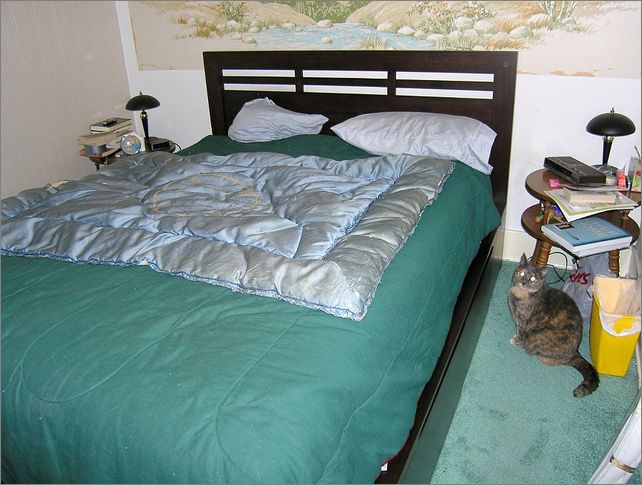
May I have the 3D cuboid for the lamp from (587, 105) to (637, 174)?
[{"bbox_3d":[1.589,-0.566,2.547,0.210,0.348,0.379,16,29,29],"label":"lamp"}]

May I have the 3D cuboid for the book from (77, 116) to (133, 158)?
[{"bbox_3d":[-1.569,-0.781,3.419,0.288,0.117,0.385,10,27,24],"label":"book"}]

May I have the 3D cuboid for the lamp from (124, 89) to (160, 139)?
[{"bbox_3d":[-1.319,-0.902,3.436,0.261,0.396,0.250,-14,17,-39],"label":"lamp"}]

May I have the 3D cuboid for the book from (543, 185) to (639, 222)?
[{"bbox_3d":[1.377,-0.190,2.364,0.427,0.145,0.196,7,25,16],"label":"book"}]

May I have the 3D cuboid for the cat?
[{"bbox_3d":[1.164,0.387,2.222,0.237,0.568,0.541,-10,27,-18],"label":"cat"}]

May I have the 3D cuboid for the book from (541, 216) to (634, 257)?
[{"bbox_3d":[1.339,-0.040,2.342,0.268,0.053,0.240,-14,26,-26],"label":"book"}]

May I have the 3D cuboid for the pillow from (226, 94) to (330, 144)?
[{"bbox_3d":[-0.301,-0.839,3.142,0.540,0.148,0.330,0,38,-1],"label":"pillow"}]

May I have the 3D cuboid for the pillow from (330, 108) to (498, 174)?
[{"bbox_3d":[0.571,-0.624,2.715,0.800,0.182,0.470,9,40,22],"label":"pillow"}]
